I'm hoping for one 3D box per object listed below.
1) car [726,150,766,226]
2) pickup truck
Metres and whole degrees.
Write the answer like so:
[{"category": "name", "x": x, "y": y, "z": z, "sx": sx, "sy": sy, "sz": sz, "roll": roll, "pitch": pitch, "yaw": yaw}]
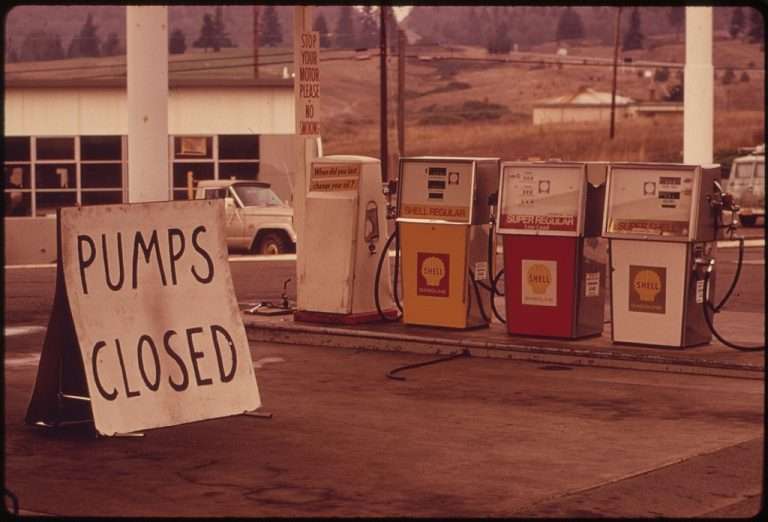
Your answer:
[{"category": "car", "x": 11.676, "y": -2.225, "z": 33.508, "sx": 1.039, "sy": 2.304, "sz": 1.824, "roll": -1, "pitch": 8, "yaw": 18}, {"category": "pickup truck", "x": -4.420, "y": -0.964, "z": 27.637, "sx": 3.919, "sy": 2.099, "sz": 2.705, "roll": 3, "pitch": -8, "yaw": -14}]
